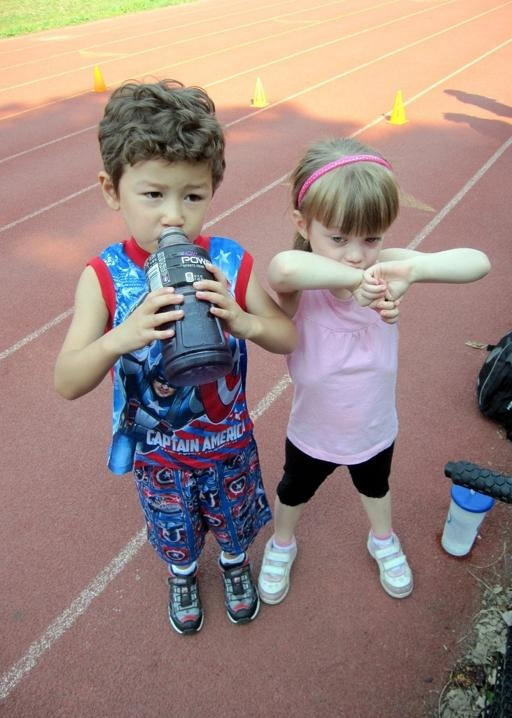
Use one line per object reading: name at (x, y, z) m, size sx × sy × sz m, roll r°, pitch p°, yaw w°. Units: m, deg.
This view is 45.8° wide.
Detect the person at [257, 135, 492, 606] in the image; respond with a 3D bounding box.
person at (0.375, 0.127, 2.060) m, size 0.812 × 1.465 × 0.549 m, roll -7°, pitch 22°, yaw -6°

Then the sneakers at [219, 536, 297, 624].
sneakers at (0.015, 0.907, 2.462) m, size 0.210 × 0.118 × 0.332 m, roll -17°, pitch 33°, yaw 27°

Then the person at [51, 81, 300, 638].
person at (-0.195, 0.188, 1.981) m, size 0.605 × 1.988 × 0.650 m, roll 13°, pitch 40°, yaw 23°

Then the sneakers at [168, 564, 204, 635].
sneakers at (-0.279, 0.956, 2.436) m, size 0.116 × 0.109 × 0.286 m, roll -1°, pitch 27°, yaw -7°

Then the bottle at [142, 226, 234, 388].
bottle at (-0.158, -0.109, 1.411) m, size 0.153 × 0.322 × 0.298 m, roll -10°, pitch 35°, yaw -7°

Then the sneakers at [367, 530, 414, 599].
sneakers at (0.528, 0.834, 2.541) m, size 0.130 × 0.122 × 0.296 m, roll -11°, pitch 39°, yaw -10°
